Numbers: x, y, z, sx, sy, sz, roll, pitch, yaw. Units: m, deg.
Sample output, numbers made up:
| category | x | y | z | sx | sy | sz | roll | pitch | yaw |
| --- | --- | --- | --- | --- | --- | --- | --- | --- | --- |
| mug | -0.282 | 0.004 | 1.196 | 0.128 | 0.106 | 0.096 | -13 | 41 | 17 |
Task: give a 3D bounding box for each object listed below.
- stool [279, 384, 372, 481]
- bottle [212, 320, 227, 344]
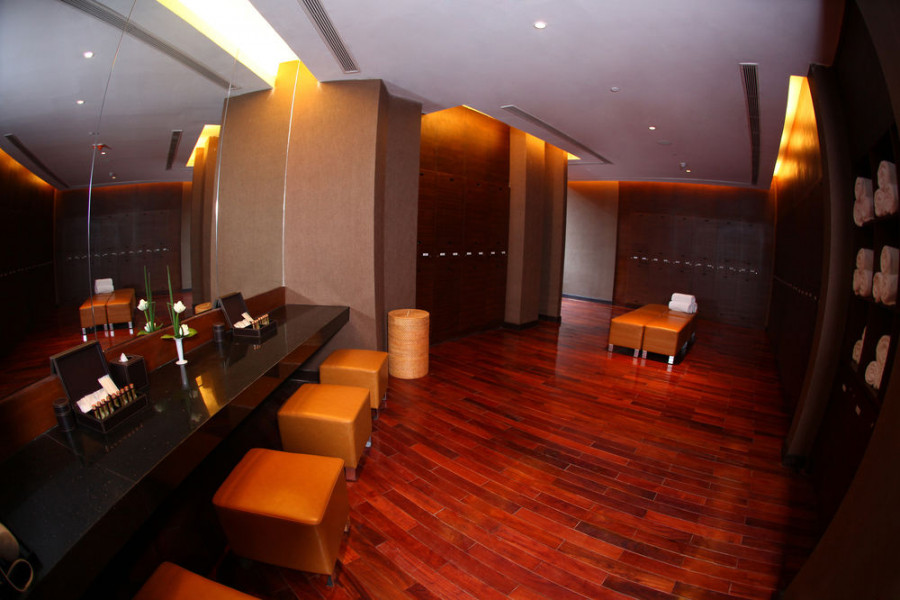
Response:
| category | x | y | z | sx | sy | sz | roll | pitch | yaw |
| --- | --- | --- | --- | --- | --- | --- | --- | --- | --- |
| stool | -0.969 | 0.998 | 4.614 | 0.710 | 0.599 | 0.718 | 2 | 7 | 16 |
| bottle | -1.959 | 0.281 | 4.644 | 0.133 | 0.200 | 0.125 | -2 | 6 | 0 |
